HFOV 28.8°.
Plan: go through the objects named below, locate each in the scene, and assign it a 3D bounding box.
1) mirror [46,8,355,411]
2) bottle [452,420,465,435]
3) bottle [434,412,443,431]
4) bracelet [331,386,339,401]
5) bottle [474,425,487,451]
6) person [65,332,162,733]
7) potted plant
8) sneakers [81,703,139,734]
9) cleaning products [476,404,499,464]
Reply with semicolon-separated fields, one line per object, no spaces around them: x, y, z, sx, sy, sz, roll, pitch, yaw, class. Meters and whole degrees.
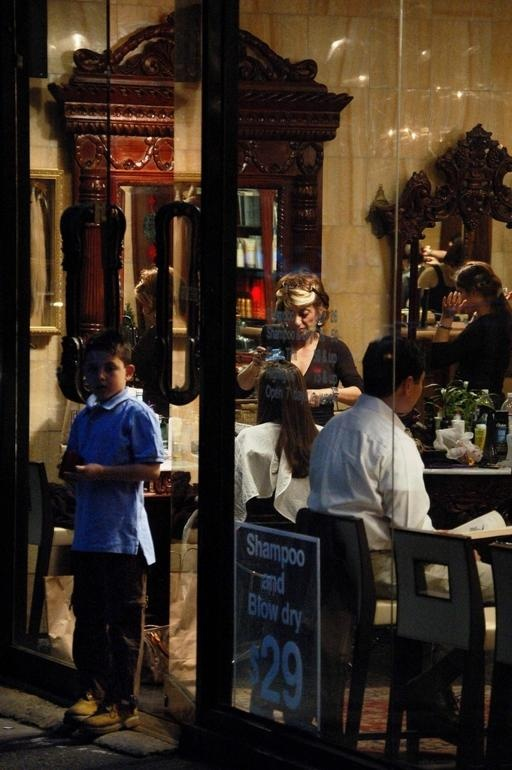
-0.203;-0.485;3.278;0.862;1.424;0.128;3;40;-2;mirror
0.465;0.096;2.297;0.027;0.035;0.032;0;3;0;bottle
0.423;0.084;2.318;0.020;0.039;0.006;4;4;38;bottle
0.199;0.018;2.501;0.019;0.026;0.025;0;5;4;bracelet
0.517;0.118;2.313;0.033;0.064;0.024;2;3;-1;bottle
-0.463;0.449;3.190;0.341;1.241;0.326;2;3;8;person
0.462;0.062;2.263;0.135;0.127;0.138;0;-4;-6;potted plant
-0.445;1.050;3.160;0.188;0.087;0.069;12;-8;-35;sneakers
0.536;0.108;2.335;0.037;0.137;0.037;0;4;5;cleaning products
